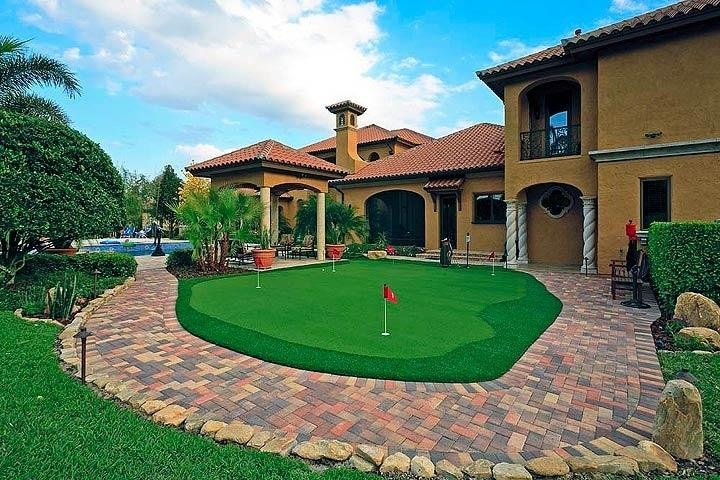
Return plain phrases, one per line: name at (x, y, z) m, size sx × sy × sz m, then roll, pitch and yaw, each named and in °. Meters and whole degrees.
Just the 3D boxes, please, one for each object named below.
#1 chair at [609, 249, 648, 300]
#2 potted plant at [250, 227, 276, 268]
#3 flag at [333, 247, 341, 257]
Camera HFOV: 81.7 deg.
chair at (8.844, 1.181, 13.736) m, size 1.366 × 1.845 × 1.580 m, roll 1°, pitch 1°, yaw 33°
potted plant at (-4.251, 0.428, 18.304) m, size 0.862 × 1.635 × 1.218 m, roll -2°, pitch 8°, yaw -15°
flag at (-1.186, 0.672, 22.104) m, size 0.470 × 0.442 × 0.395 m, roll -1°, pitch 2°, yaw -10°
